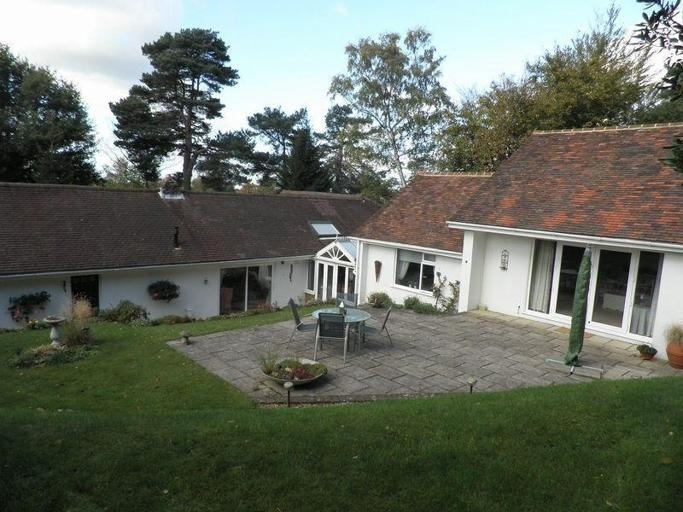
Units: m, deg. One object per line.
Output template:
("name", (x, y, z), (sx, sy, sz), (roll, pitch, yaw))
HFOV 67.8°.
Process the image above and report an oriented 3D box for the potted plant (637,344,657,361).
("potted plant", (9.729, 3.089, 16.187), (0.490, 0.212, 0.490), (7, 6, 15))
